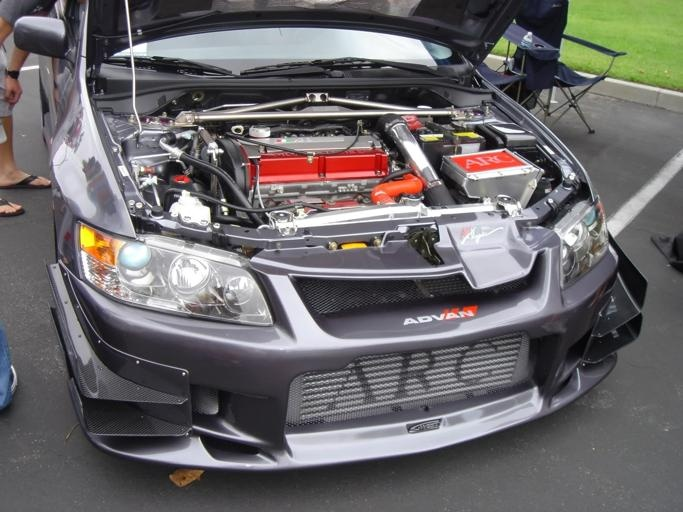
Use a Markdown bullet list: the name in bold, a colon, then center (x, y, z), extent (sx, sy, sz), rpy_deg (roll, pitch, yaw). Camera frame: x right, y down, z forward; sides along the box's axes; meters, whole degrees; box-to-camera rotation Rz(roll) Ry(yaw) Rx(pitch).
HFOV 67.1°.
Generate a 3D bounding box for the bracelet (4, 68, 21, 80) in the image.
- **bracelet**: center (-2.556, -1.409, 3.987), extent (0.075, 0.064, 0.092), rpy_deg (-1, 10, -17)
